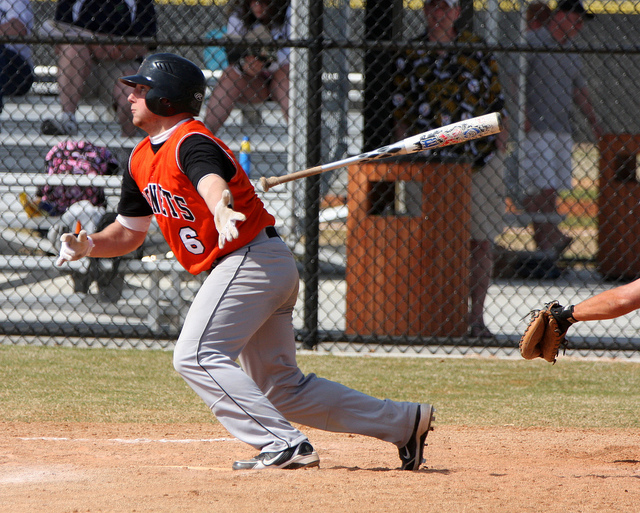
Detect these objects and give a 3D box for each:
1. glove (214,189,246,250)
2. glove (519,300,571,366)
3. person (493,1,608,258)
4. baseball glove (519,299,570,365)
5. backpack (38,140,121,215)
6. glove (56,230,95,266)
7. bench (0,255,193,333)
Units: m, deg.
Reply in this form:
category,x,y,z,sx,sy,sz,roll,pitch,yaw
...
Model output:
category,x,y,z,sx,sy,sz,roll,pitch,yaw
glove,-0.474,-0.214,6.172,0.121,0.350,0.238,12,-37,-16
glove,1.309,0.447,7.031,0.169,0.354,0.277,3,-19,-31
person,2.023,-1.238,10.827,0.790,3.570,0.521,10,21,27
baseball glove,1.306,0.455,7.042,0.165,0.351,0.298,6,-34,-6
backpack,-1.917,-0.682,9.675,0.506,0.663,0.469,3,16,20
glove,-1.382,-0.044,6.775,0.213,0.218,0.186,-2,13,-13
bench,-1.661,0.279,9.274,1.392,0.571,0.664,3,13,10
